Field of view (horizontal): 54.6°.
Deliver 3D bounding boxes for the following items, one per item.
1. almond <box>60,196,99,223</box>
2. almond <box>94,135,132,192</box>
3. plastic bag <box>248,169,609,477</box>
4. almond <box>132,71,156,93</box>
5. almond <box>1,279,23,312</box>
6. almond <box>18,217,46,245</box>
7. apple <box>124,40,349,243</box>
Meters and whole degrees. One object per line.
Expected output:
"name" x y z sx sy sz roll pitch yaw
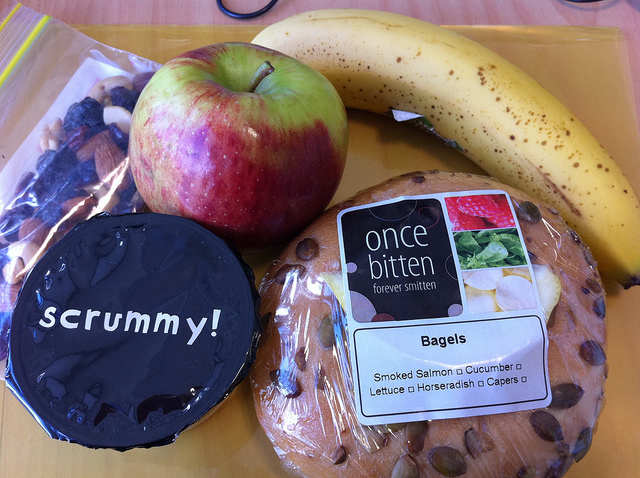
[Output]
"almond" -0.358 -0.046 0.921 0.056 0.009 0.040 -22 79 -7
"almond" -0.318 -0.113 0.943 0.056 0.005 0.088 -42 82 -10
"plastic bag" 0.114 0.069 0.875 0.394 0.363 0.357 -5 26 -10
"almond" -0.282 -0.251 1.003 0.034 0.013 0.029 -30 62 21
"almond" -0.441 0.078 0.876 0.034 0.029 0.051 -4 77 -3
"almond" -0.427 -0.013 0.915 0.035 0.013 0.042 -4 75 9
"apple" -0.110 -0.126 0.864 0.242 0.255 0.252 19 32 -8
